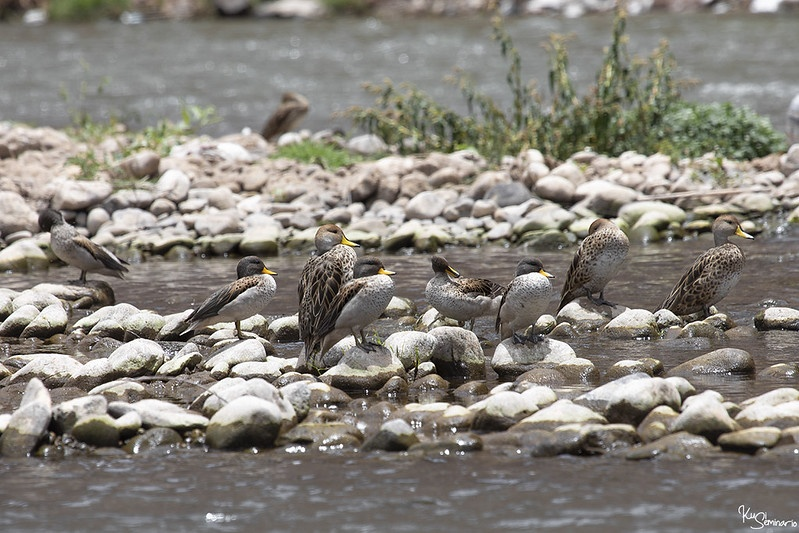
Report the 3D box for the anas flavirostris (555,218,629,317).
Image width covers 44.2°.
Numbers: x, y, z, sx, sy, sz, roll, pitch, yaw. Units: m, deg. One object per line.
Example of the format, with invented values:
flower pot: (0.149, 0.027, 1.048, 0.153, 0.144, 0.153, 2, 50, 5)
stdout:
anas flavirostris: (2.430, 0.040, 12.418, 0.725, 1.266, 0.477, 11, 18, 32)
